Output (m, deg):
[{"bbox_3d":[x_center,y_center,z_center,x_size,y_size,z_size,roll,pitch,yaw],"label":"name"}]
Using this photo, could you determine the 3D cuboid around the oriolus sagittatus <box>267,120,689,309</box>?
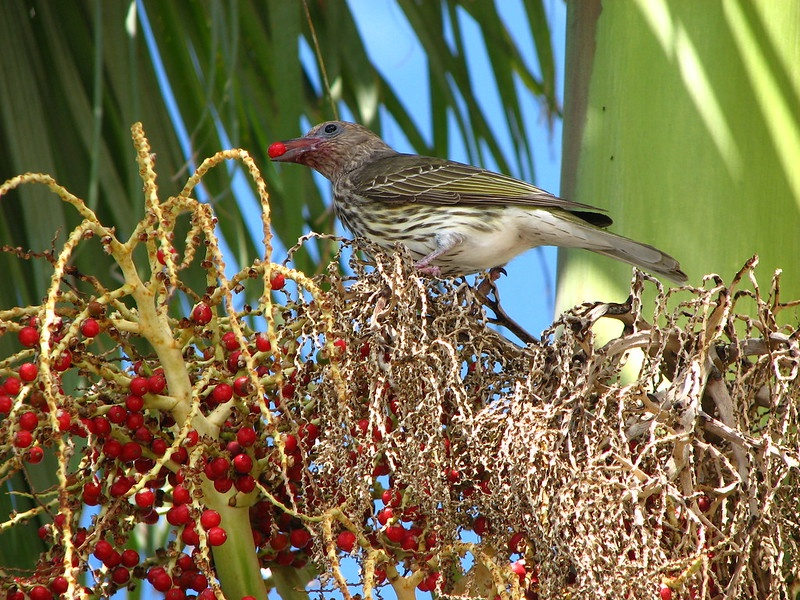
[{"bbox_3d":[0.208,-0.301,4.395,1.237,0.538,0.353,0,-26,15],"label":"oriolus sagittatus"}]
